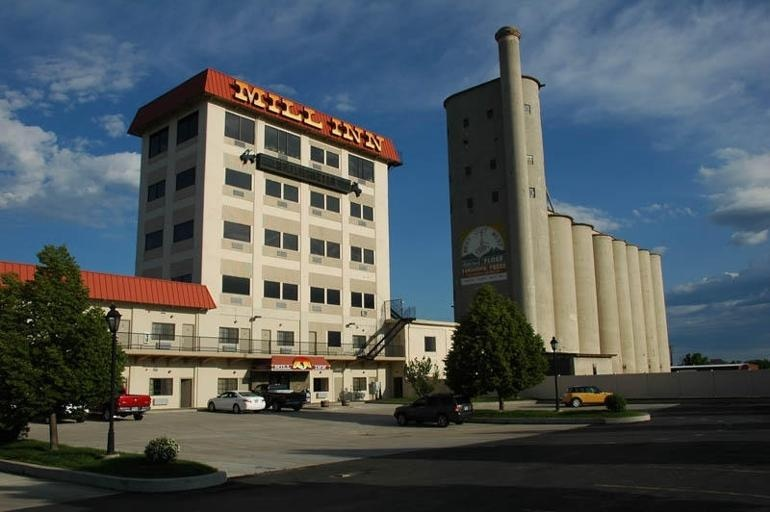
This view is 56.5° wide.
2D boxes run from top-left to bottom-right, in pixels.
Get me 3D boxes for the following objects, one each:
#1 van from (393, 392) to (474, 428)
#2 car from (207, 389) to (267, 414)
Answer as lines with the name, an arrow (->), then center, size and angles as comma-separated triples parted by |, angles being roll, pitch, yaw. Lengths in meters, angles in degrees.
van -> 3.069, 9.760, 45.142 | 4.344, 1.616, 2.097 | -1, -7, 28
car -> -11.002, 10.823, 53.069 | 3.997, 1.644, 1.453 | -10, -18, 24
